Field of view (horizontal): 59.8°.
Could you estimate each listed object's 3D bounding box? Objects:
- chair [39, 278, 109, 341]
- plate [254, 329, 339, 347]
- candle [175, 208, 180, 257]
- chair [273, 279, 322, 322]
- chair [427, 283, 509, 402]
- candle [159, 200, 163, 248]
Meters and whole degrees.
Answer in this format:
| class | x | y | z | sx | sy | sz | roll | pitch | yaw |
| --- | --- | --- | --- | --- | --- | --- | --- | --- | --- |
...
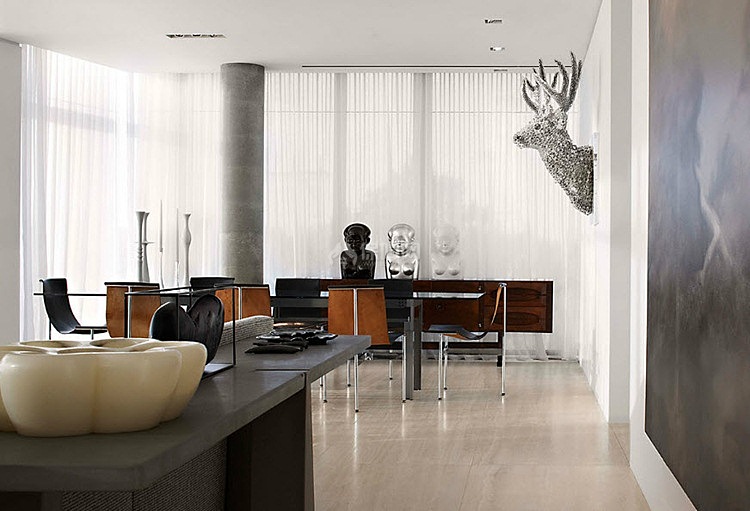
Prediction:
| class | x | y | z | sx | sy | sz | roll | pitch | yaw |
| --- | --- | --- | --- | --- | --- | --- | --- | --- | --- |
| chair | -2.883 | 0.560 | 6.327 | 0.567 | 0.671 | 0.448 | 1 | 4 | -6 |
| plate | -0.322 | 0.339 | 2.677 | 0.349 | 0.043 | 0.438 | -1 | 1 | -12 |
| candle | -2.507 | -0.275 | 8.319 | 0.080 | 0.657 | 0.148 | -1 | 2 | -17 |
| chair | -0.823 | 0.468 | 6.956 | 0.564 | 0.568 | 0.435 | 0 | 0 | 6 |
| chair | 0.981 | 0.866 | 6.819 | 0.930 | 1.436 | 1.049 | 0 | -3 | 3 |
| candle | -2.726 | -0.378 | 8.335 | 0.048 | 0.659 | 0.144 | -1 | 2 | -18 |
